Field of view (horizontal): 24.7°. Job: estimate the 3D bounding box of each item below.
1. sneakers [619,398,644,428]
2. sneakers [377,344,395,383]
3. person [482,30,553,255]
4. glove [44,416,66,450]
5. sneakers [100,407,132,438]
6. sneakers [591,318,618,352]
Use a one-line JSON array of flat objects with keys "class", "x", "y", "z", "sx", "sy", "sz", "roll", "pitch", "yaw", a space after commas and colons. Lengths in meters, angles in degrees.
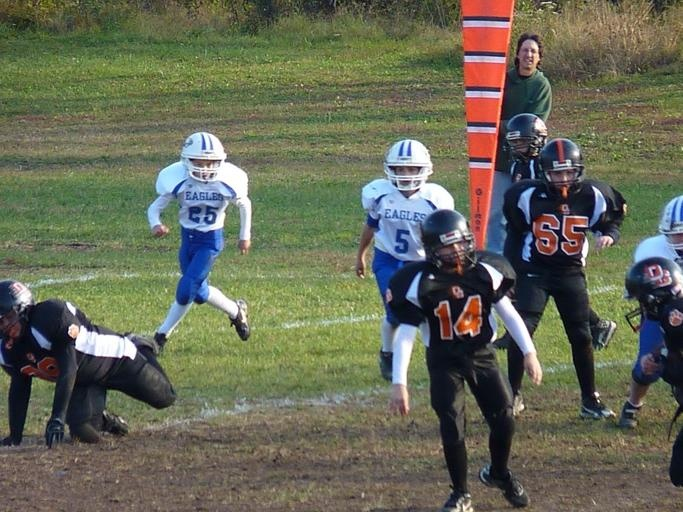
[{"class": "sneakers", "x": 3.887, "y": 2.112, "z": 21.080, "sx": 0.177, "sy": 0.508, "sz": 0.224, "roll": 10, "pitch": -1, "yaw": 27}, {"class": "sneakers", "x": 0.620, "y": 1.538, "z": 22.018, "sx": 0.167, "sy": 0.429, "sz": 0.187, "roll": -3, "pitch": 8, "yaw": 8}, {"class": "person", "x": 2.534, "y": -1.484, "z": 23.097, "sx": 0.959, "sy": 3.549, "sz": 0.957, "roll": 10, "pitch": -8, "yaw": -38}, {"class": "glove", "x": -3.755, "y": 2.296, "z": 20.470, "sx": 0.169, "sy": 0.232, "sz": 0.488, "roll": 5, "pitch": -30, "yaw": -14}, {"class": "sneakers", "x": -3.072, "y": 2.272, "z": 21.153, "sx": 0.426, "sy": 0.246, "sz": 0.195, "roll": 19, "pitch": 3, "yaw": -19}, {"class": "sneakers", "x": 3.702, "y": 1.113, "z": 22.270, "sx": 0.304, "sy": 0.612, "sz": 0.205, "roll": 7, "pitch": 29, "yaw": -13}]
